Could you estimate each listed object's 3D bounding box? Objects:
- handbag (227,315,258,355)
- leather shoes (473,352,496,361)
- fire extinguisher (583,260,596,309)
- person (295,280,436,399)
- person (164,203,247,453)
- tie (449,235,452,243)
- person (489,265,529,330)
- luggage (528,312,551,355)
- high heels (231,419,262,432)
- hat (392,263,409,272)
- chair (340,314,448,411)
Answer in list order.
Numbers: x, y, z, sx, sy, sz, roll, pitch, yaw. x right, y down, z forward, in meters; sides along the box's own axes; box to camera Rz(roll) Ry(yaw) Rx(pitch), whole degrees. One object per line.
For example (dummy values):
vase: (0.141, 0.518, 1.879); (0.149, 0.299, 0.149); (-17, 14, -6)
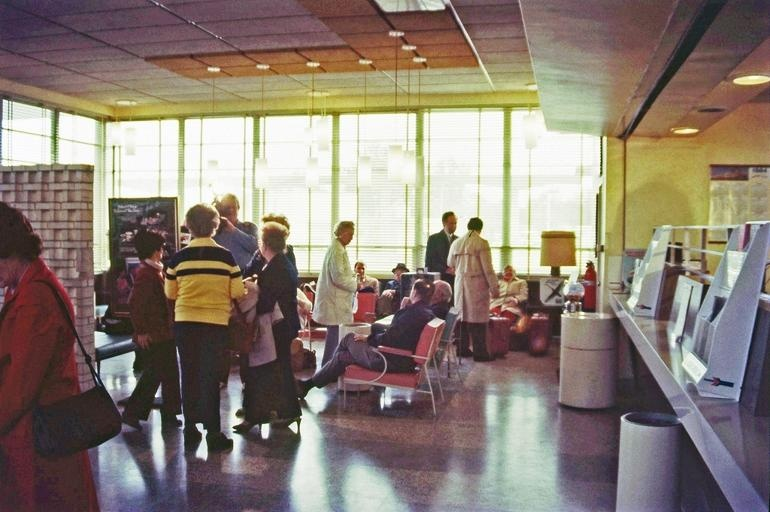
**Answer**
handbag: (-1.375, 0.744, 6.364); (0.403, 0.413, 0.180); (1, 1, -2)
leather shoes: (1.421, 1.474, 9.692); (0.179, 0.102, 0.169); (2, -3, -34)
fire extinguisher: (2.651, 0.421, 8.513); (0.160, 0.610, 0.157); (1, -6, 14)
person: (-0.268, 0.940, 7.370); (1.527, 1.460, 0.640); (6, -11, 23)
person: (-1.683, 0.664, 6.223); (0.709, 2.297, 0.419); (-2, 7, -18)
tie: (1.060, -0.273, 10.576); (0.068, 0.091, 0.025); (0, -24, -4)
person: (1.978, 0.698, 10.559); (0.646, 0.797, 1.401); (-2, 32, 19)
luggage: (2.359, 1.193, 10.090); (0.315, 0.602, 0.275); (1, 7, 10)
high heels: (-1.374, 1.715, 6.695); (0.343, 0.129, 0.120); (3, -2, -4)
hat: (0.275, 0.180, 11.292); (0.177, 0.071, 0.193); (-2, -15, 10)
chair: (0.094, 1.161, 7.223); (1.068, 0.856, 0.701); (2, 0, 9)
